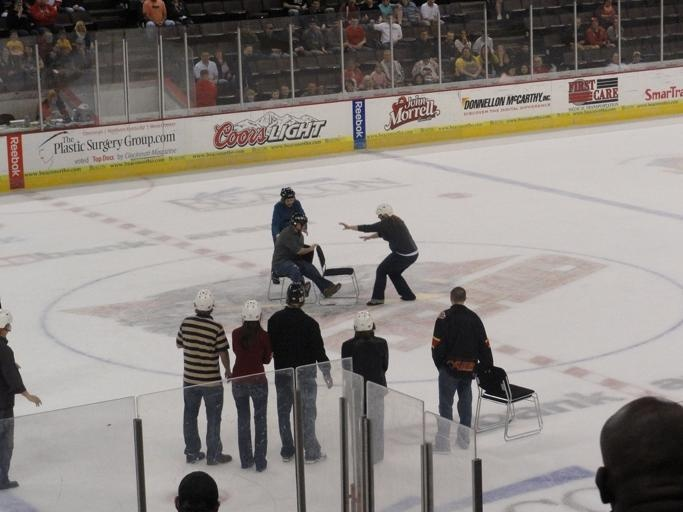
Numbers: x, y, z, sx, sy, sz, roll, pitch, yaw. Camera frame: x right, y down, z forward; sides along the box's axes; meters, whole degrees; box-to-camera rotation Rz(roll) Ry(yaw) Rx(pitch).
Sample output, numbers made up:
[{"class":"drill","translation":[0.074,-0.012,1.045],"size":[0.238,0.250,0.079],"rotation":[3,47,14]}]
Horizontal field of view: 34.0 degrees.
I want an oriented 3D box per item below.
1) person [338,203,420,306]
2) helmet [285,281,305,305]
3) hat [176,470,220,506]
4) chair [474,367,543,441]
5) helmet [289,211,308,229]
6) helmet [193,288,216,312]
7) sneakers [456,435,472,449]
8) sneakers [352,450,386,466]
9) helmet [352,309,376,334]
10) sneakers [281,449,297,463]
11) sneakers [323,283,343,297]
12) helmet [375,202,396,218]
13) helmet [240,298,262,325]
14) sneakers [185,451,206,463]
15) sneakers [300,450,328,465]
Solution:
[{"class":"person","translation":[0.696,-0.032,16.832],"size":[0.824,1.492,0.392],"rotation":[-3,7,0]},{"class":"helmet","translation":[-0.540,0.453,12.853],"size":[0.220,0.245,0.286],"rotation":[1,25,4]},{"class":"hat","translation":[-1.171,1.894,9.148],"size":[0.315,0.343,0.270],"rotation":[6,47,-4]},{"class":"chair","translation":[1.949,1.800,13.317],"size":[0.688,0.869,0.603],"rotation":[-19,25,-32]},{"class":"helmet","translation":[-0.656,-0.535,16.834],"size":[0.295,0.253,0.202],"rotation":[-10,25,-8]},{"class":"helmet","translation":[-1.619,0.514,12.770],"size":[0.252,0.244,0.279],"rotation":[4,49,4]},{"class":"sneakers","translation":[1.109,1.720,10.329],"size":[0.147,0.115,0.109],"rotation":[-2,25,3]},{"class":"sneakers","translation":[0.232,1.917,10.754],"size":[0.277,0.176,0.254],"rotation":[-2,-3,4]},{"class":"helmet","translation":[0.230,0.752,12.679],"size":[0.236,0.256,0.288],"rotation":[-4,7,1]},{"class":"sneakers","translation":[-0.531,1.916,10.772],"size":[0.076,0.129,0.206],"rotation":[4,15,10]},{"class":"sneakers","translation":[-0.180,0.501,16.767],"size":[0.294,0.143,0.125],"rotation":[-37,51,2]},{"class":"helmet","translation":[0.623,-0.685,16.868],"size":[0.302,0.226,0.219],"rotation":[16,23,36]},{"class":"helmet","translation":[-1.014,0.602,12.549],"size":[0.223,0.224,0.265],"rotation":[-1,29,3]},{"class":"sneakers","translation":[-1.388,1.899,10.595],"size":[0.208,0.085,0.070],"rotation":[-20,32,-33]},{"class":"sneakers","translation":[-0.279,1.974,10.898],"size":[0.235,0.095,0.077],"rotation":[-14,42,0]}]
